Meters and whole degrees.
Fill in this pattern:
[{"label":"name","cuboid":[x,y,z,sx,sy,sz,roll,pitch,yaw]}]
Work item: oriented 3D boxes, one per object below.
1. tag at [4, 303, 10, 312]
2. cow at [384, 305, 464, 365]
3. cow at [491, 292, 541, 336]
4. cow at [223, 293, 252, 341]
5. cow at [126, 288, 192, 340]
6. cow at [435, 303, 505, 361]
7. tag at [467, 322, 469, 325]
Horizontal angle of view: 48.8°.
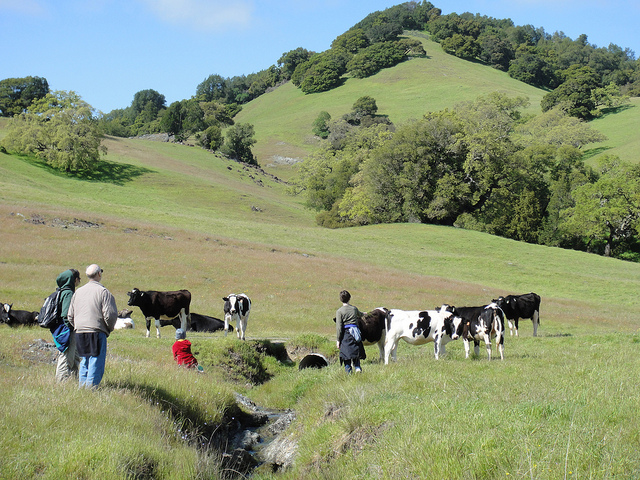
[{"label":"tag","cuboid":[-16.793,3.600,37.552,0.252,0.378,0.091,-5,-5,-40]},{"label":"cow","cuboid":[4.694,4.486,32.817,3.569,2.322,0.983,2,8,-12]},{"label":"cow","cuboid":[11.894,4.549,42.365,4.041,2.635,1.199,1,-4,-31]},{"label":"cow","cuboid":[-4.584,4.311,38.466,1.354,2.571,3.088,2,9,-7]},{"label":"cow","cuboid":[-8.759,3.785,38.951,3.407,2.370,0.615,-3,10,-39]},{"label":"cow","cuboid":[7.632,4.592,35.028,1.135,2.991,4.127,1,-7,-22]},{"label":"tag","cuboid":[7.130,4.011,33.936,0.077,0.097,0.082,-4,6,-41]}]
